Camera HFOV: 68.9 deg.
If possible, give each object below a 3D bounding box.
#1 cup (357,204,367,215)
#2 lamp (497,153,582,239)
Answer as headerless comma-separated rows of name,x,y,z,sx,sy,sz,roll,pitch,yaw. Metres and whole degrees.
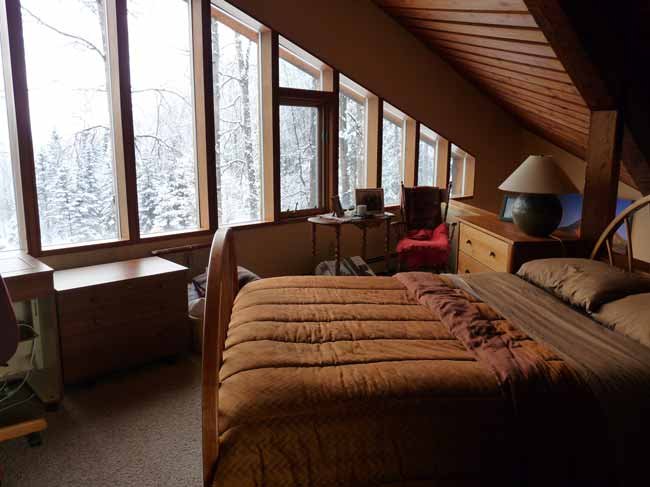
cup,0.336,-0.305,4.392,0.083,0.081,0.075,-1,4,-35
lamp,1.501,-0.360,3.565,0.561,0.588,0.568,0,6,-3
